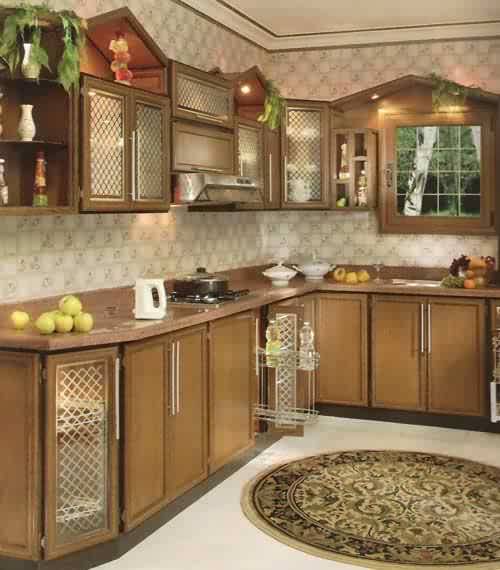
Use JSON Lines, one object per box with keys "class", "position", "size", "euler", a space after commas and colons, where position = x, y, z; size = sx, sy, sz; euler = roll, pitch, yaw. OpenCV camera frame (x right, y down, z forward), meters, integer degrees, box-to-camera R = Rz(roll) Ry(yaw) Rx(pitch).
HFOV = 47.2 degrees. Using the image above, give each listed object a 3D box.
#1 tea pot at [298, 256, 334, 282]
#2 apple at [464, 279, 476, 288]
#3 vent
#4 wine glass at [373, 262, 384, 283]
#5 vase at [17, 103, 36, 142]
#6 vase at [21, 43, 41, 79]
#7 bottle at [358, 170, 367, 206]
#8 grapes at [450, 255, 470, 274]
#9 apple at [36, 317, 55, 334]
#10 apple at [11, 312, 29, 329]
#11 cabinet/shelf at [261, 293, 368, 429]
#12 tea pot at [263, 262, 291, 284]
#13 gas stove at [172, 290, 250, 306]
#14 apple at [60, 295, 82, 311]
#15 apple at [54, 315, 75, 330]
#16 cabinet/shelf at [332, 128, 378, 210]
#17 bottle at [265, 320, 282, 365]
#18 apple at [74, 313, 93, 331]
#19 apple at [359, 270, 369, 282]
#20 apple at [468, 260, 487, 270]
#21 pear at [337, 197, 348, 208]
{"class": "tea pot", "position": [0.569, -0.113, 4.992], "size": [0.312, 0.132, 0.202], "euler": [0, -4, 4]}
{"class": "apple", "position": [1.670, -0.025, 4.293], "size": [0.082, 0.069, 0.074], "euler": [-3, 30, -11]}
{"class": "vent", "position": [-0.159, -0.602, 3.826], "size": [0.273, 0.271, 1.052], "euler": [0, 0, 22]}
{"class": "wine glass", "position": [1.132, -0.115, 5.003], "size": [0.095, 0.173, 0.486], "euler": [0, 0, 12]}
{"class": "vase", "position": [-0.933, -0.674, 2.371], "size": [0.061, 0.181, 0.116], "euler": [0, 0, -21]}
{"class": "vase", "position": [-0.901, -0.901, 2.335], "size": [0.070, 0.140, 0.138], "euler": [0, 0, -20]}
{"class": "bottle", "position": [0.974, -0.835, 4.924], "size": [0.055, 0.307, 0.090], "euler": [0, 0, -16]}
{"class": "grapes", "position": [1.687, -0.163, 4.558], "size": [0.143, 0.164, 0.110], "euler": [12, -14, -2]}
{"class": "apple", "position": [-0.775, 0.152, 2.188], "size": [0.059, 0.069, 0.091], "euler": [0, 0, 24]}
{"class": "apple", "position": [-0.922, 0.133, 2.292], "size": [0.078, 0.069, 0.070], "euler": [4, 8, 0]}
{"class": "cabinet/shelf", "position": [0.423, 0.554, 4.105], "size": [0.510, 0.946, 1.227], "euler": [0, 0, 27]}
{"class": "tea pot", "position": [0.241, -0.089, 4.635], "size": [0.244, 0.143, 0.188], "euler": [0, -5, -2]}
{"class": "gas stove", "position": [-0.272, 0.071, 3.534], "size": [0.390, 0.065, 0.591], "euler": [0, 0, 14]}
{"class": "apple", "position": [-0.730, 0.079, 2.355], "size": [0.082, 0.068, 0.079], "euler": [-10, -14, 32]}
{"class": "apple", "position": [-0.725, 0.144, 2.227], "size": [0.065, 0.054, 0.059], "euler": [-2, -2, -8]}
{"class": "cabinet/shelf", "position": [0.918, -0.991, 4.943], "size": [0.424, 0.688, 0.298], "euler": [0, 0, 1]}
{"class": "bottle", "position": [0.147, 0.370, 3.716], "size": [0.102, 0.290, 0.133], "euler": [0, 0, -6]}
{"class": "apple", "position": [-0.662, 0.150, 2.317], "size": [0.079, 0.070, 0.073], "euler": [0, 9, 3]}
{"class": "apple", "position": [1.003, -0.077, 4.894], "size": [0.086, 0.092, 0.089], "euler": [21, 3, -6]}
{"class": "apple", "position": [1.754, -0.164, 4.390], "size": [0.097, 0.080, 0.080], "euler": [-43, 6, -9]}
{"class": "pear", "position": [0.803, -0.719, 4.962], "size": [0.072, 0.065, 0.090], "euler": [-12, -8, 0]}
